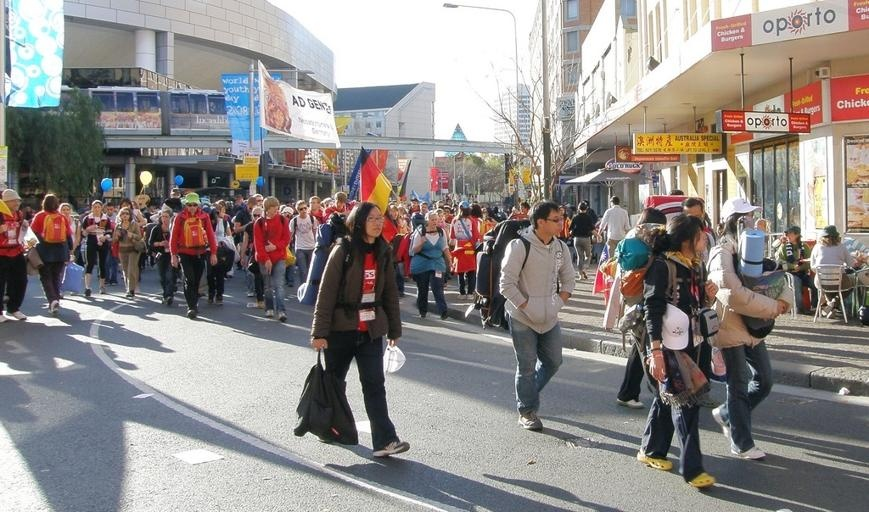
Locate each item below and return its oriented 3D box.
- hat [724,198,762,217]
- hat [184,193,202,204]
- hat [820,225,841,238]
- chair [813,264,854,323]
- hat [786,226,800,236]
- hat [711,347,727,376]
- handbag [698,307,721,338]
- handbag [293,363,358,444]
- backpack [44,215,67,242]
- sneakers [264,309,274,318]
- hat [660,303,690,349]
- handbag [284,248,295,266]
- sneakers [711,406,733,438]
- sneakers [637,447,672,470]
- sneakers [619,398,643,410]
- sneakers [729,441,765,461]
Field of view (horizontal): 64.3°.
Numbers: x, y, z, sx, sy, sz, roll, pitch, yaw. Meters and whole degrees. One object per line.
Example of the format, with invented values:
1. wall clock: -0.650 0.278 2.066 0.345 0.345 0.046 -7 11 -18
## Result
1. hat: 4.025 -0.579 9.122 0.389 0.195 0.289 -9 7 17
2. hat: -5.556 -1.322 15.992 0.321 0.307 0.378 0 5 -23
3. hat: 8.333 -0.496 14.604 0.305 0.184 0.380 -3 -3 36
4. chair: 8.354 0.737 14.520 0.932 1.164 0.928 -2 1 -21
5. hat: 8.136 -0.564 15.746 0.289 0.150 0.215 15 9 13
6. hat: 3.595 1.360 8.785 0.174 0.478 0.469 4 10 22
7. handbag: 3.200 0.798 8.118 0.267 0.358 0.169 1 9 5
8. handbag: -1.382 1.919 8.779 0.968 1.124 0.577 -1 -12 8
9. backpack: -8.662 -0.628 15.798 0.594 0.773 0.411 -2 4 -41
10. sneakers: -3.702 1.292 15.525 0.162 0.120 0.293 0 -3 -16
11. hat: 2.745 0.813 7.905 0.309 0.459 0.152 -1 0 7
12. handbag: -3.390 0.029 16.124 0.208 0.401 0.322 -13 27 -1
13. sneakers: 3.776 2.207 9.134 0.179 0.410 0.138 -23 -19 24
14. sneakers: 2.658 2.455 8.385 0.346 0.148 0.202 5 7 38
15. sneakers: 2.803 2.130 9.904 0.252 0.103 0.124 0 2 21
16. sneakers: 3.846 2.425 8.528 0.377 0.165 0.178 2 18 0
